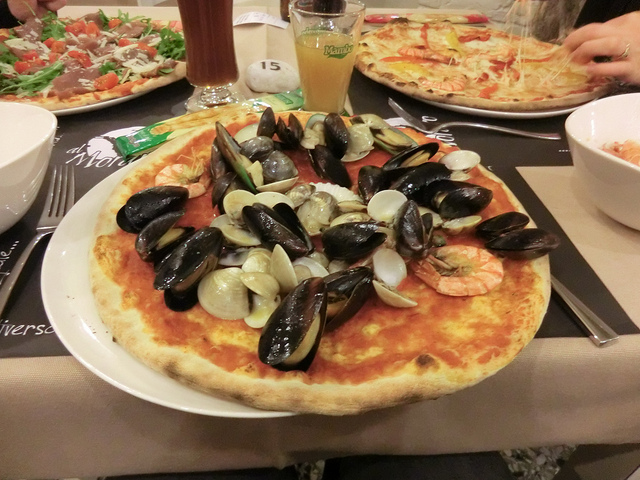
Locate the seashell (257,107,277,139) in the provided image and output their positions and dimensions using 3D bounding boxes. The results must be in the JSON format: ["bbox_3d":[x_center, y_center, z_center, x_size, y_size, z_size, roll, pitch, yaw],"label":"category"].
[{"bbox_3d":[-0.197,-0.469,1.921,0.043,0.140,0.096,13,82,-8],"label":"seashell"}]

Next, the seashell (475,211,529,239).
[{"bbox_3d":[0.583,-0.056,1.609,0.129,0.033,0.096,-28,18,-13],"label":"seashell"}]

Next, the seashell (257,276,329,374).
[{"bbox_3d":[-0.066,0.230,1.386,0.158,0.147,0.267,9,52,10],"label":"seashell"}]

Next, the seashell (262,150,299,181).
[{"bbox_3d":[-0.168,-0.268,1.788,0.115,0.036,0.115,37,37,4],"label":"seashell"}]

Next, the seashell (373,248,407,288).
[{"bbox_3d":[0.200,0.087,1.565,0.113,0.038,0.108,-28,78,-22],"label":"seashell"}]

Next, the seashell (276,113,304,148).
[{"bbox_3d":[-0.119,-0.413,1.867,0.040,0.095,0.123,-5,67,-54],"label":"seashell"}]

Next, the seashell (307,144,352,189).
[{"bbox_3d":[0.012,-0.283,1.862,0.246,0.141,0.220,-2,23,-13],"label":"seashell"}]

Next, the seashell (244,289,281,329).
[{"bbox_3d":[-0.152,0.207,1.477,0.054,0.145,0.102,25,43,-36],"label":"seashell"}]

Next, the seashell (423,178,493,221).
[{"bbox_3d":[0.468,-0.143,1.717,0.216,0.071,0.118,-16,77,9],"label":"seashell"}]

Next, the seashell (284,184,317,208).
[{"bbox_3d":[-0.068,-0.165,1.720,0.079,0.028,0.094,27,56,32],"label":"seashell"}]

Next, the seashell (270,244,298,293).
[{"bbox_3d":[-0.106,0.083,1.459,0.045,0.114,0.122,-15,95,-28],"label":"seashell"}]

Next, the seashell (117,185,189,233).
[{"bbox_3d":[-0.545,-0.094,1.670,0.203,0.054,0.142,-29,55,-25],"label":"seashell"}]

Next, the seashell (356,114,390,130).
[{"bbox_3d":[0.217,-0.474,1.965,0.080,0.034,0.118,-26,48,-37],"label":"seashell"}]

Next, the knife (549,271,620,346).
[{"bbox_3d":[0.778,0.196,1.515,0.074,0.021,0.298,-8,35,-10],"label":"knife"}]

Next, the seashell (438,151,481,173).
[{"bbox_3d":[0.510,-0.296,1.827,0.130,0.029,0.088,-20,44,-22],"label":"seashell"}]

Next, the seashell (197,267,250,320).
[{"bbox_3d":[-0.279,0.161,1.466,0.180,0.090,0.126,-9,30,-24],"label":"seashell"}]

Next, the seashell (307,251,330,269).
[{"bbox_3d":[-0.004,0.060,1.560,0.052,0.054,0.032,27,93,8],"label":"seashell"}]

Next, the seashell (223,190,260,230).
[{"bbox_3d":[-0.267,-0.101,1.671,0.135,0.048,0.121,-21,83,-13],"label":"seashell"}]

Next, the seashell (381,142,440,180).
[{"bbox_3d":[0.304,-0.289,1.838,0.271,0.090,0.085,-33,103,-13],"label":"seashell"}]

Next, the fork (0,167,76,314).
[{"bbox_3d":[-0.930,-0.039,1.676,0.088,0.070,0.556,13,54,-5],"label":"fork"}]

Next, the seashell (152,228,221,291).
[{"bbox_3d":[-0.397,0.061,1.493,0.296,0.111,0.192,-3,21,-32],"label":"seashell"}]

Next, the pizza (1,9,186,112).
[{"bbox_3d":[-1.196,-0.946,2.636,1.359,0.423,0.874,-14,35,-26],"label":"pizza"}]

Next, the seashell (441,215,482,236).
[{"bbox_3d":[0.464,-0.054,1.650,0.108,0.034,0.070,-18,20,-2],"label":"seashell"}]

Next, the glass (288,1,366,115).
[{"bbox_3d":[0.004,-0.857,2.249,0.361,0.590,0.311,-6,45,-7],"label":"glass"}]

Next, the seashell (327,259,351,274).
[{"bbox_3d":[0.056,0.079,1.552,0.051,0.012,0.047,-33,41,-24],"label":"seashell"}]

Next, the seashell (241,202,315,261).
[{"bbox_3d":[-0.145,-0.041,1.584,0.236,0.074,0.163,43,44,22],"label":"seashell"}]
